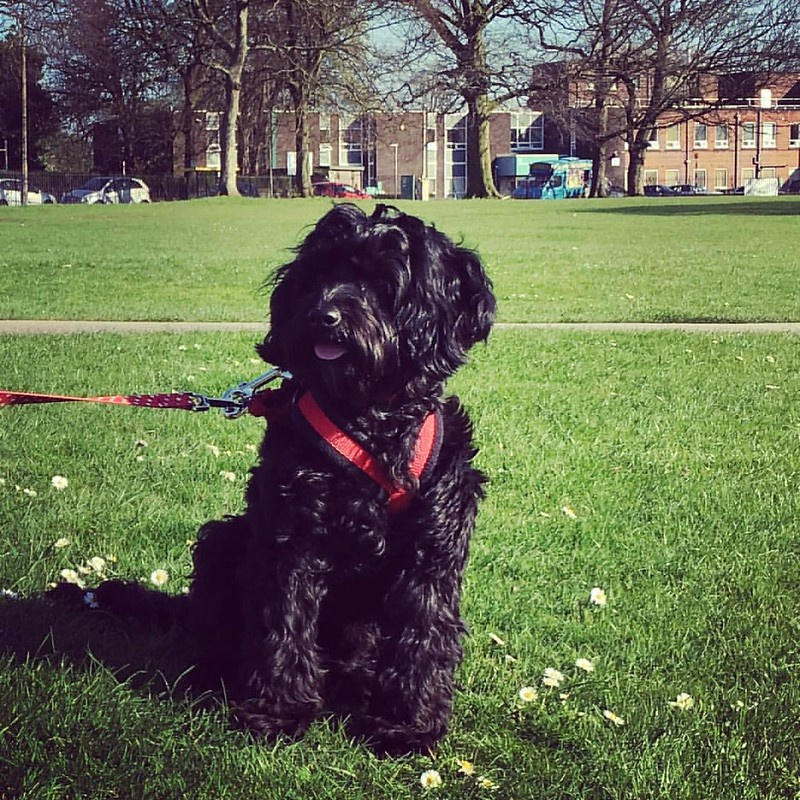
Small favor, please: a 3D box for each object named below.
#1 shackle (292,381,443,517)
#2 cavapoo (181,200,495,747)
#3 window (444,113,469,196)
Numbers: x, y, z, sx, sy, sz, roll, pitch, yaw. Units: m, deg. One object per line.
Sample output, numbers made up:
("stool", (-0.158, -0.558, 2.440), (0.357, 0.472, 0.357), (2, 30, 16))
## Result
("shackle", (-0.104, 0.129, 3.750), (0.356, 0.474, 0.122), (-43, 8, -23))
("cavapoo", (-0.199, 0.248, 3.924), (1.018, 1.799, 0.638), (2, 13, 4))
("window", (4.493, -19.369, 89.999), (1.562, 8.711, 0.646), (-2, -30, 6))
